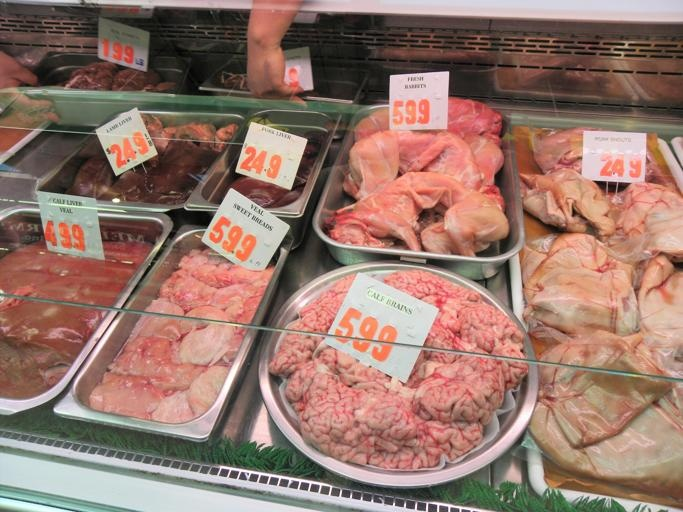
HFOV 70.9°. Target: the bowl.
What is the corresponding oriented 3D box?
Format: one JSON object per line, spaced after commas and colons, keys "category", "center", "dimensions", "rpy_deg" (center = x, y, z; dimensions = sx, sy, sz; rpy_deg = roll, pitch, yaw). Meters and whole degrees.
{"category": "bowl", "center": [0.163, 0.289, 1.431], "dimensions": [0.851, 0.329, 0.697], "rpy_deg": [-4, 49, 0]}
